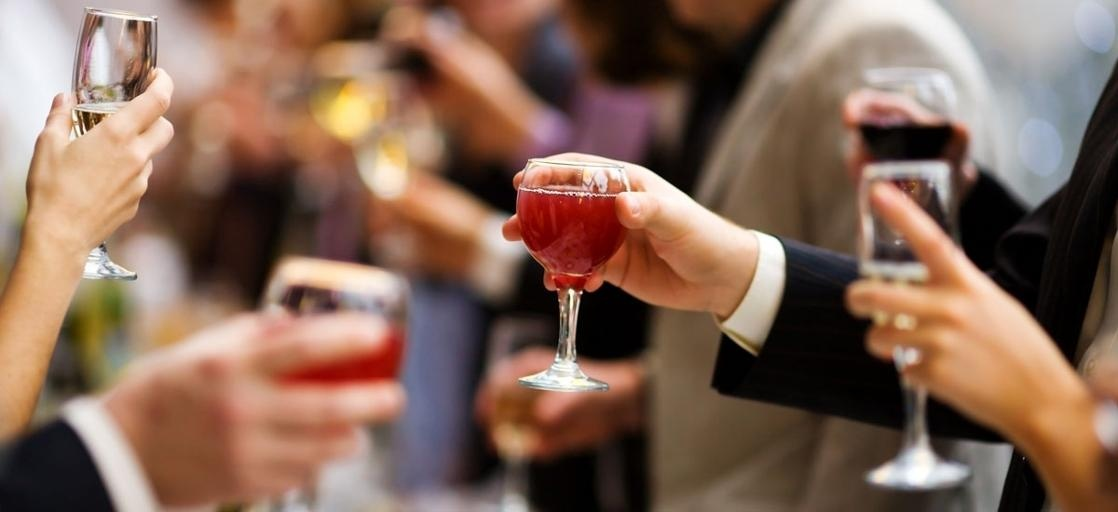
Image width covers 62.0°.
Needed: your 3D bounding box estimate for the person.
[{"bbox_3d":[0.024,0.021,3.104,2.611,0.738,0.722,6,51,6],"label":"person"}]
